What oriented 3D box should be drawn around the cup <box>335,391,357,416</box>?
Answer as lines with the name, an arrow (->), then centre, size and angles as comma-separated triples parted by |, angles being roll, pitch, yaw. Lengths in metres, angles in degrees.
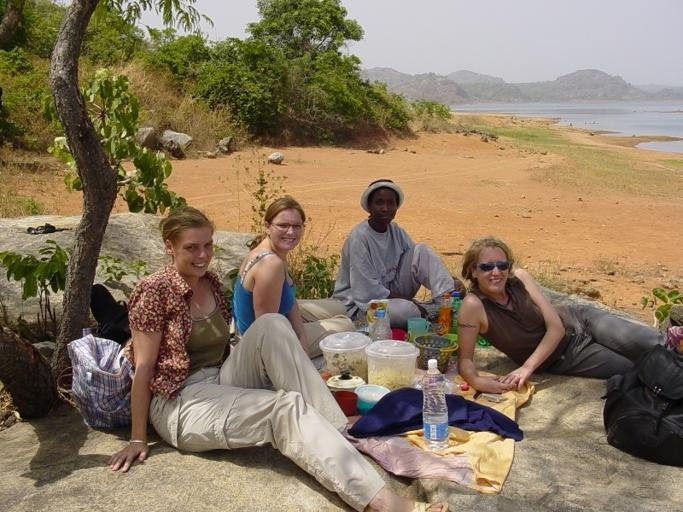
cup -> 0.035, 1.190, 4.348 | 0.167, 0.151, 0.192 | -2, -6, 1

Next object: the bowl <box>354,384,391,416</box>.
bowl -> 0.249, 1.151, 4.358 | 0.248, 0.137, 0.235 | 0, 1, 0

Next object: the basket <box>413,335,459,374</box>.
basket -> 0.886, 0.875, 5.000 | 0.395, 0.241, 0.369 | 6, 14, 14
